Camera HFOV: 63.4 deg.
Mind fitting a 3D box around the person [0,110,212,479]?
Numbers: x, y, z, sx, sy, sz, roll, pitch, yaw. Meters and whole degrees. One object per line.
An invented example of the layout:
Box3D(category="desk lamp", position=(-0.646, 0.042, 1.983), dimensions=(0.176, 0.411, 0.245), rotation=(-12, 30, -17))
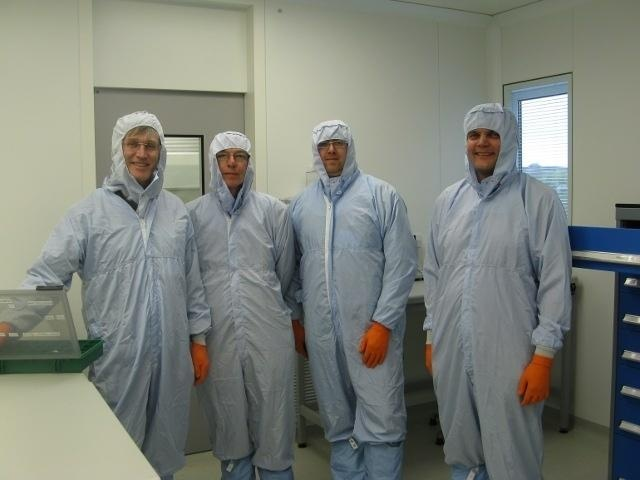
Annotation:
Box3D(category="person", position=(-0.816, 0.263, 2.209), dimensions=(0.665, 1.581, 0.449), rotation=(-3, 10, -15))

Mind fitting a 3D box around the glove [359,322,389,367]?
Box3D(category="glove", position=(0.269, 0.482, 2.544), dimensions=(0.111, 0.257, 0.135), rotation=(-2, -33, 26))
